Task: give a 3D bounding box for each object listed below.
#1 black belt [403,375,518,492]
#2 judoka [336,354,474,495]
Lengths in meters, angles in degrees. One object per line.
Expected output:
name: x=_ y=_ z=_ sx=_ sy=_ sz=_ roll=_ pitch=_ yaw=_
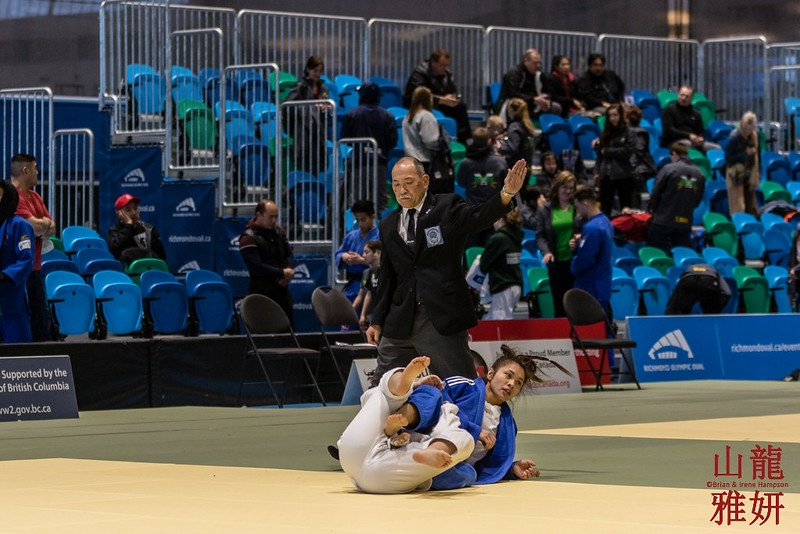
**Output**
black belt: x=0.648 y=1.633 z=13.175 sx=1.768 sy=1.410 sz=0.777 roll=1 pitch=1 yaw=-8
judoka: x=-0.018 y=1.451 z=13.305 sx=0.994 sy=1.519 sz=2.249 roll=-1 pitch=-2 yaw=-4
